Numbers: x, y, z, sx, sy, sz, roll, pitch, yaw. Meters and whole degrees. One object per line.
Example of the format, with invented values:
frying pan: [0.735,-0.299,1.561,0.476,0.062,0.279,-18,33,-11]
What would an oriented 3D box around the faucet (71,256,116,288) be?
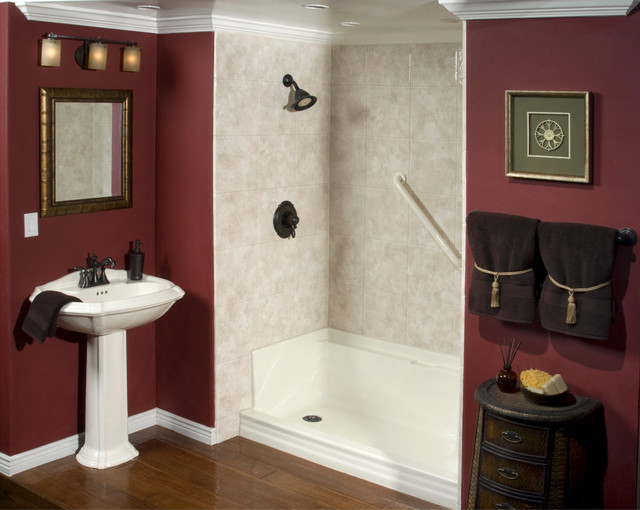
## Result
faucet: [-1.412,0.097,3.578,0.275,0.218,0.105,-12,0,-25]

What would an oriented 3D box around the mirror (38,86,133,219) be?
mirror: [-1.456,-0.658,3.632,0.648,0.828,0.059,0,0,8]

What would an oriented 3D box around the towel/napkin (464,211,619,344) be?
towel/napkin: [1.031,0.084,2.604,0.142,0.408,0.543,-4,10,-44]

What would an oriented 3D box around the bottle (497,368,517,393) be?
bottle: [0.873,0.583,2.724,0.093,0.131,0.099,0,8,0]

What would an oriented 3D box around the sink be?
sink: [-1.264,0.276,3.476,0.452,0.234,0.617,11,17,32]

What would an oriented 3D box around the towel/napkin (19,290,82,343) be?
towel/napkin: [-1.531,0.340,3.312,0.281,0.323,0.106,16,-1,33]

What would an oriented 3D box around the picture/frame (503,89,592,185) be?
picture/frame: [1.047,-0.547,2.596,0.393,0.471,0.037,5,8,40]

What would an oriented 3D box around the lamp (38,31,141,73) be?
lamp: [-1.360,-1.208,3.434,0.557,0.211,0.148,-9,22,-39]
